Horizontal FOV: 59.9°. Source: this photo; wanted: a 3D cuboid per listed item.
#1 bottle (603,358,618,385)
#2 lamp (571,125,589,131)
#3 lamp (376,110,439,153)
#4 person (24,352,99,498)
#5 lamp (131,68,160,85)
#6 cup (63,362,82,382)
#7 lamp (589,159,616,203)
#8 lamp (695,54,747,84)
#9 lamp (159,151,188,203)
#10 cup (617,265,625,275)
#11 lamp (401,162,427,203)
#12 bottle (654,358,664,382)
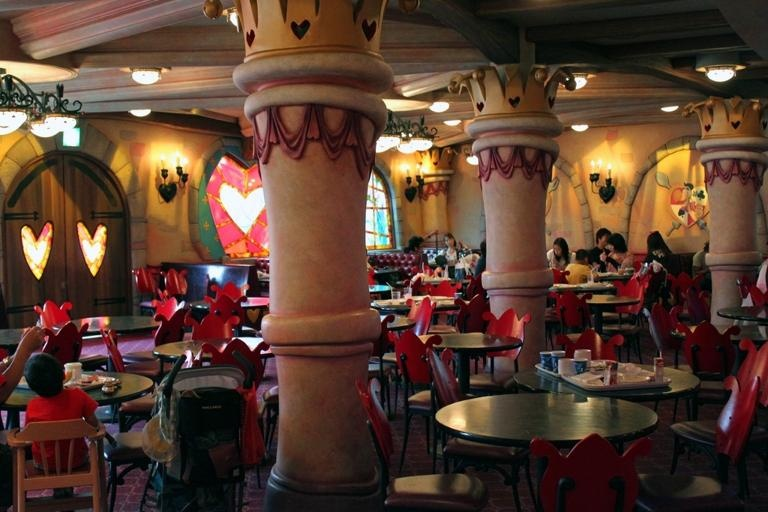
[{"bbox_3d":[1.661,0.856,4.886,0.089,0.144,0.253,-1,1,20],"label":"bottle"},{"bbox_3d":[4.280,-2.796,14.543,0.279,0.103,0.288,-2,-2,43],"label":"lamp"},{"bbox_3d":[0.495,-2.128,11.980,0.877,0.385,0.974,-10,-2,39],"label":"lamp"},{"bbox_3d":[-2.170,1.163,4.514,0.452,1.008,0.423,-2,1,-23],"label":"person"},{"bbox_3d":[-3.022,-2.329,8.533,0.356,0.187,0.247,-2,1,-20],"label":"lamp"},{"bbox_3d":[-2.492,0.938,5.364,0.106,0.156,0.164,2,-1,27],"label":"cup"},{"bbox_3d":[4.994,-1.646,15.282,0.491,0.885,0.644,-4,13,-42],"label":"lamp"},{"bbox_3d":[4.425,-2.514,8.945,0.435,0.218,0.434,0,-1,-7],"label":"lamp"},{"bbox_3d":[-4.158,-1.561,13.339,0.196,0.992,0.660,0,2,40],"label":"lamp"},{"bbox_3d":[4.089,0.270,11.495,0.131,0.103,0.125,-1,-3,0],"label":"cup"},{"bbox_3d":[0.841,-1.983,18.016,0.587,1.064,0.361,-2,2,-34],"label":"lamp"},{"bbox_3d":[2.009,0.835,4.870,0.098,0.175,0.043,-2,2,-28],"label":"bottle"}]
